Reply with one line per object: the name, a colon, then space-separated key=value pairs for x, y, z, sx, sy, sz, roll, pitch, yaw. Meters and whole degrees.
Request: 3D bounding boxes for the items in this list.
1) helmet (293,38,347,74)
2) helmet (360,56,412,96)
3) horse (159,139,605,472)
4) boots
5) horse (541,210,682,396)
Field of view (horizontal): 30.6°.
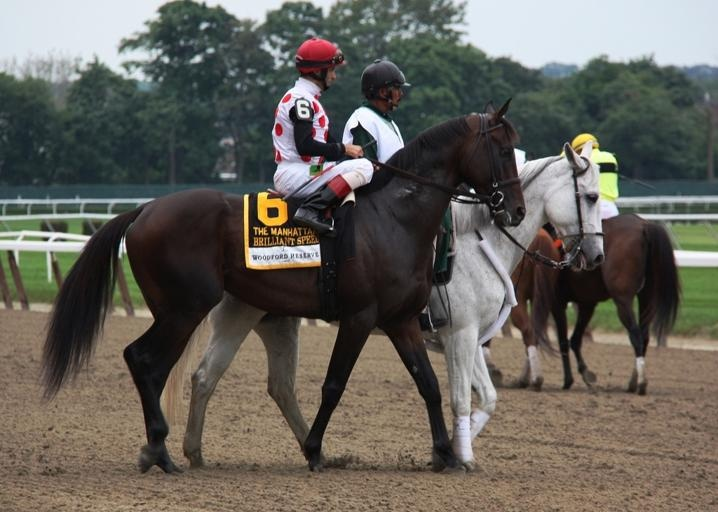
helmet: x=-0.399 y=-2.018 z=12.972 sx=0.524 sy=0.281 sz=0.379 roll=-11 pitch=20 yaw=-32
helmet: x=0.270 y=-1.828 z=13.324 sx=0.514 sy=0.298 sz=0.392 roll=-4 pitch=11 yaw=2
horse: x=0.207 y=0.494 z=13.258 sx=4.647 sy=3.284 sz=1.096 roll=0 pitch=-3 yaw=-12
boots: x=-0.337 y=-0.482 z=12.517 sx=0.546 sy=0.546 sz=0.219 roll=0 pitch=12 yaw=-7
horse: x=2.917 y=0.485 z=16.131 sx=0.738 sy=2.225 sz=3.005 roll=5 pitch=-5 yaw=-22
